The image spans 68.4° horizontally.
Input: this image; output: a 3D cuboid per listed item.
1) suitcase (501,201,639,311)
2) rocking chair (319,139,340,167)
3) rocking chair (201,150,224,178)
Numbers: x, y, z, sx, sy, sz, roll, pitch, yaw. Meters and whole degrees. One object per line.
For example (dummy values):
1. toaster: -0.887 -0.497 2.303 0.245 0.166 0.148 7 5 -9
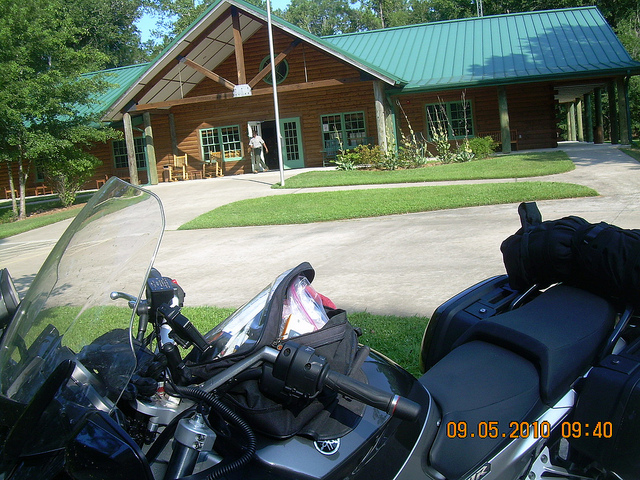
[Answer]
1. suitcase: 1.312 0.051 2.525 0.415 0.299 0.667 -43 30 -26
2. rocking chair: 0.600 -4.491 24.264 1.322 1.938 1.251 0 9 4
3. rocking chair: -5.656 -4.025 25.010 1.248 2.165 1.247 0 7 -5
